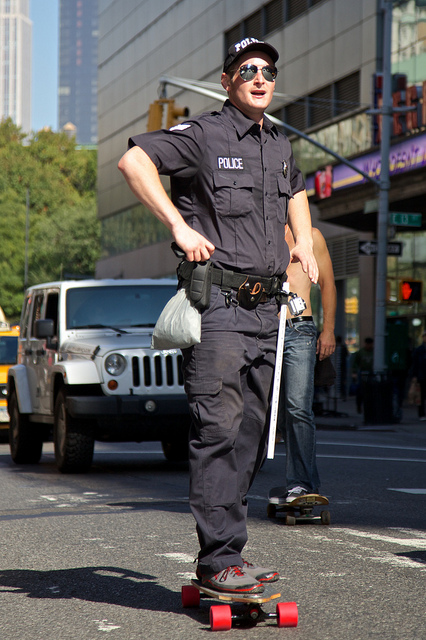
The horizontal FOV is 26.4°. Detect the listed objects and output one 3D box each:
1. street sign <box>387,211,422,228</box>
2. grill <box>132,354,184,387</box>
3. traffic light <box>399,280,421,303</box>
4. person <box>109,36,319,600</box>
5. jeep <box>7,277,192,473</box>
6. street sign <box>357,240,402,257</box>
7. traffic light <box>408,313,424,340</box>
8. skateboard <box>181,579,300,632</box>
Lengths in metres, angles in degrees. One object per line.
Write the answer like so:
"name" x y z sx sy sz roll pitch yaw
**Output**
"street sign" 3.825 -2.087 18.305 0.781 0.290 0.358 0 0 -22
"grill" -0.516 0.475 8.640 0.523 0.303 0.170 0 0 -31
"traffic light" 3.984 -0.616 18.303 0.497 0.458 0.063 0 1 -3
"person" 0.024 -0.067 3.325 0.563 2.065 0.758 0 1 21
"jeep" -1.157 0.490 9.564 1.507 1.368 2.624 2 -7 -25
"street sign" 3.463 -1.564 18.919 0.855 0.482 2.277 0 0 11
"traffic light" 5.605 0.128 25.134 0.202 0.721 0.747 -1 0 -16
"skateboard" 0.105 0.965 3.080 0.203 0.091 0.321 3 -6 -20
